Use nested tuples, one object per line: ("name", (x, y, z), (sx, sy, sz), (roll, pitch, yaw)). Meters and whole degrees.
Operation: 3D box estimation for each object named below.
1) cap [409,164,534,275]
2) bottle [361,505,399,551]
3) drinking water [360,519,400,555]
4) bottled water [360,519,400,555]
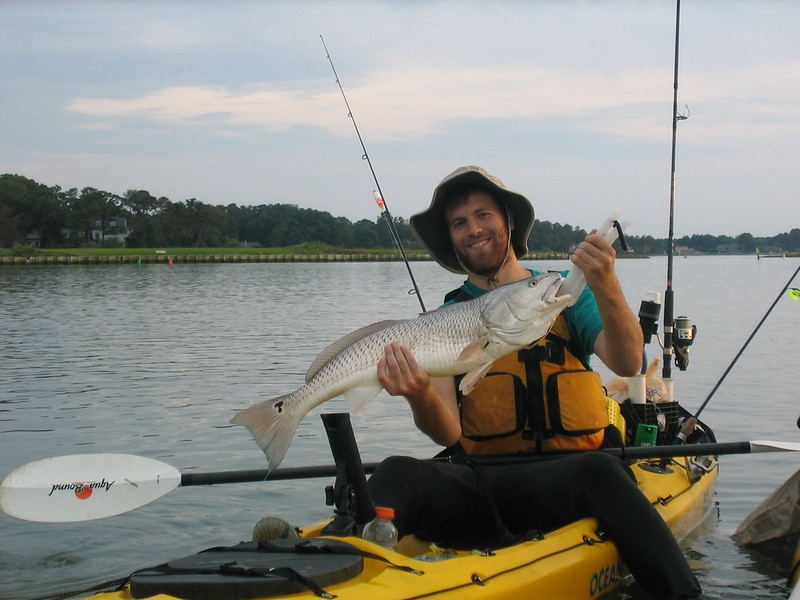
("cap", (0.473, -0.693, 5.832), (0.836, 0.976, 0.325), (-12, 42, 14))
("bottle", (-0.120, 1.272, 4.589), (0.218, 0.251, 0.188), (12, -10, -20))
("drinking water", (-0.112, 1.266, 4.527), (0.184, 0.169, 0.153), (0, 4, -3))
("bottled water", (-0.105, 1.261, 4.517), (0.193, 0.219, 0.177), (4, -1, 1))
